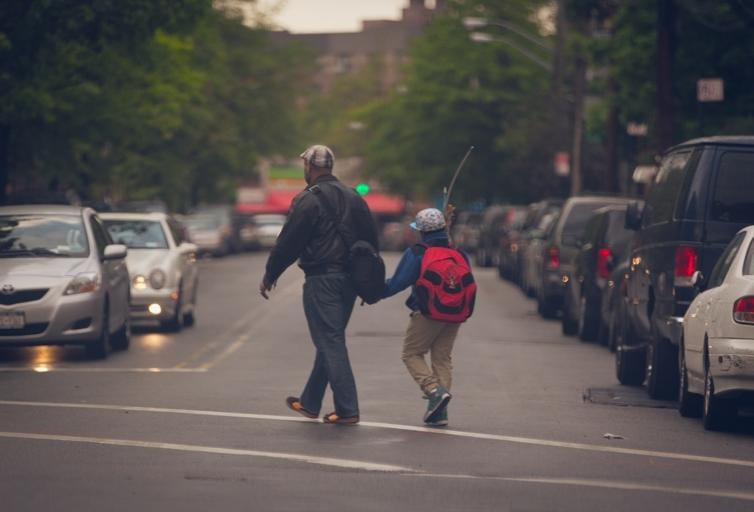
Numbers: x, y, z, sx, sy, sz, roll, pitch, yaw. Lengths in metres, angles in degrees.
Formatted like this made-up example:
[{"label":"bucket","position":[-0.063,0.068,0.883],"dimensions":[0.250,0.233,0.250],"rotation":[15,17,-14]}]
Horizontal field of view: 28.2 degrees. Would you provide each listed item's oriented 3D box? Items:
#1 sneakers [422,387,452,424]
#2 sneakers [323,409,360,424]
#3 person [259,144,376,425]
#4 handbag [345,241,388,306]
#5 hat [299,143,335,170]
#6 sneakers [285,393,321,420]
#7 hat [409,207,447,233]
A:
[{"label":"sneakers","position":[0.631,1.592,15.938],"dimensions":[0.268,0.418,0.200],"rotation":[2,9,2]},{"label":"sneakers","position":[-0.394,1.686,15.998],"dimensions":[0.302,0.128,0.158],"rotation":[4,3,22]},{"label":"person","position":[-0.589,0.313,16.116],"dimensions":[1.171,2.928,0.888],"rotation":[1,9,-1]},{"label":"handbag","position":[-0.104,0.172,15.994],"dimensions":[0.420,0.673,0.257],"rotation":[-2,9,-20]},{"label":"hat","position":[-0.702,-1.093,16.333],"dimensions":[0.252,0.170,0.338],"rotation":[0,9,-37]},{"label":"sneakers","position":[-0.858,1.645,16.219],"dimensions":[0.410,0.162,0.172],"rotation":[32,23,4]},{"label":"hat","position":[0.525,-0.395,16.173],"dimensions":[0.255,0.159,0.327],"rotation":[-9,16,-39]}]
